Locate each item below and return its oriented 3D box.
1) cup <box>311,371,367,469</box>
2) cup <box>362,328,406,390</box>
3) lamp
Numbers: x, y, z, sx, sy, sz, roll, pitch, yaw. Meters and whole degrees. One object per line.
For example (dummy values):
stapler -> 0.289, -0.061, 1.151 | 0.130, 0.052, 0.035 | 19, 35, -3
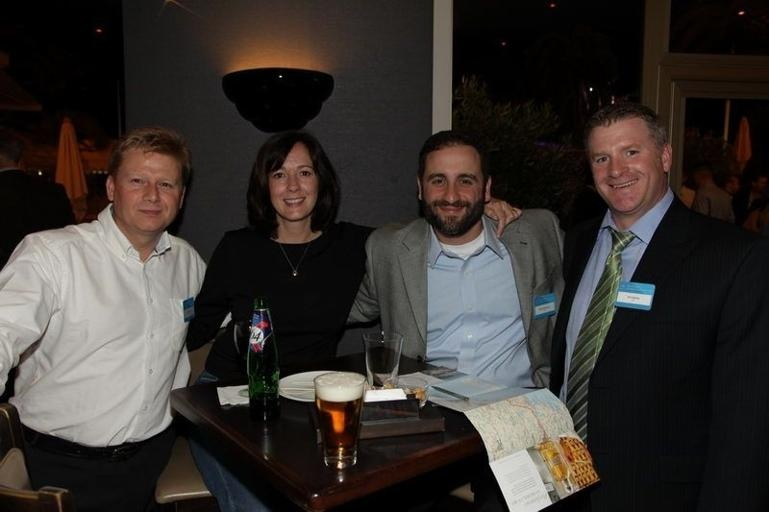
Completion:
cup -> -0.172, 0.638, 2.241 | 0.189, 0.308, 0.225 | -2, 11, -7
cup -> -0.009, 0.474, 2.603 | 0.249, 0.338, 0.229 | 0, -3, 0
lamp -> -0.779, -1.113, 4.181 | 0.901, 0.400, 0.647 | 2, 7, 22
